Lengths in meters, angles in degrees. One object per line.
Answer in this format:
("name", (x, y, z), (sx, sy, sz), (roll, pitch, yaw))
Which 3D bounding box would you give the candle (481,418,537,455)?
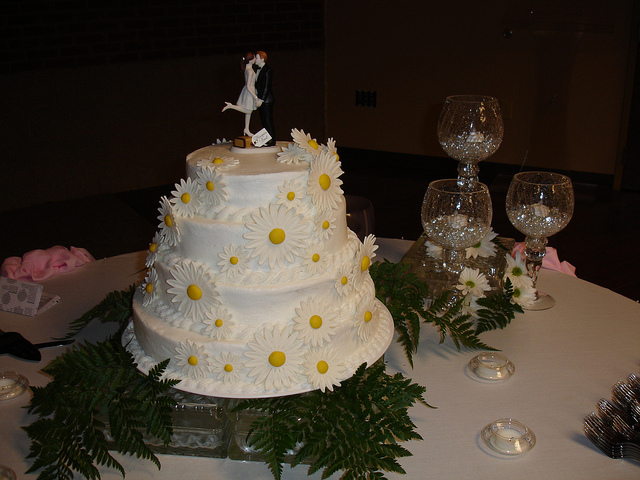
("candle", (0.495, 0.509, 1.322), (0.137, 0.030, 0.140), (1, 11, 26))

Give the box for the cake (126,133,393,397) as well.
("cake", (-0.121, 0.132, 1.498), (0.713, 0.505, 0.712), (-27, 32, -34))

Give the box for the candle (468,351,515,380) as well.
("candle", (0.532, 0.389, 1.554), (0.115, 0.031, 0.106), (-16, 33, -31))

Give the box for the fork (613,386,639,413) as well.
("fork", (0.809, 0.418, 1.325), (0.086, 0.011, 0.013), (49, 16, 23))

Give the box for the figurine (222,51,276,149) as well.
("figurine", (-0.214, -0.425, 1.537), (0.157, 0.291, 0.285), (-1, 28, -6))

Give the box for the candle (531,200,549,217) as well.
("candle", (0.761, -0.106, 1.730), (0.050, 0.037, 0.050), (-1, 4, 4))

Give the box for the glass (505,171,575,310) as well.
("glass", (0.794, -0.008, 1.868), (0.251, 0.487, 0.345), (8, 28, 12))
